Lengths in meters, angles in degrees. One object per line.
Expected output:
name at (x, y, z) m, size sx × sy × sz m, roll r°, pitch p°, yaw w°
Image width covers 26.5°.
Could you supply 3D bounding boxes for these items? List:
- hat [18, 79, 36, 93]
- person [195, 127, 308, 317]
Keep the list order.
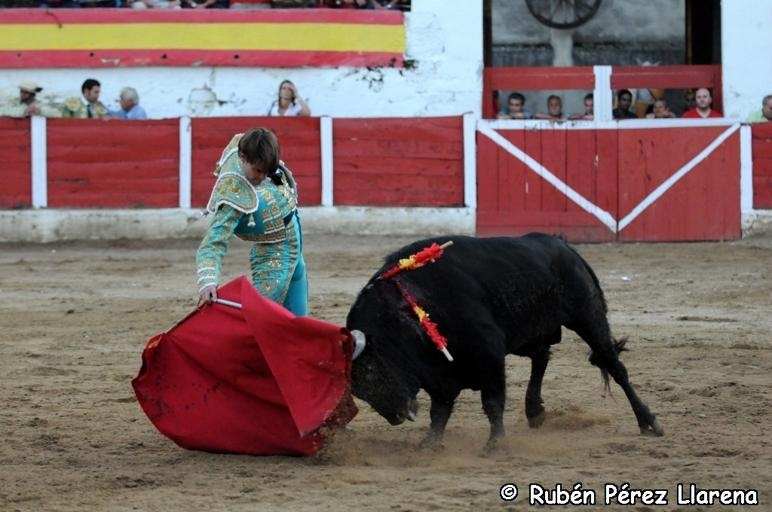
hat at (-4.005, -1.897, 18.360) m, size 0.165 × 0.060 × 0.119 m, roll 10°, pitch 10°, yaw -33°
person at (-1.137, -0.227, 13.348) m, size 0.898 × 1.602 × 0.475 m, roll -7°, pitch 12°, yaw -10°
